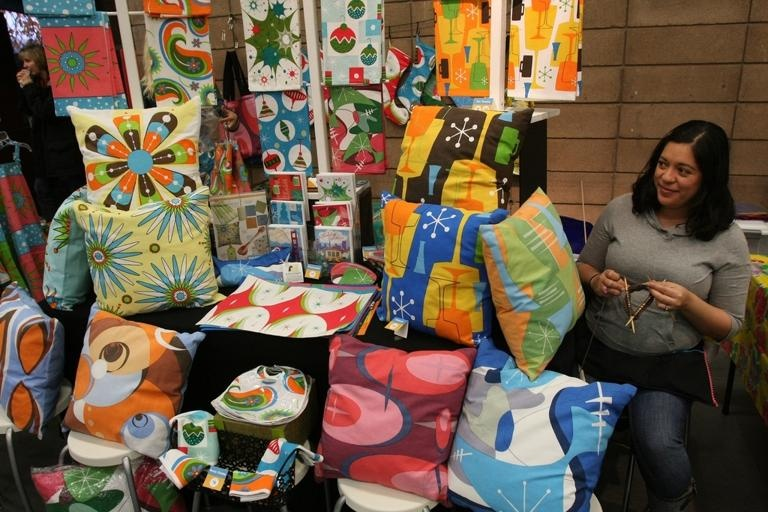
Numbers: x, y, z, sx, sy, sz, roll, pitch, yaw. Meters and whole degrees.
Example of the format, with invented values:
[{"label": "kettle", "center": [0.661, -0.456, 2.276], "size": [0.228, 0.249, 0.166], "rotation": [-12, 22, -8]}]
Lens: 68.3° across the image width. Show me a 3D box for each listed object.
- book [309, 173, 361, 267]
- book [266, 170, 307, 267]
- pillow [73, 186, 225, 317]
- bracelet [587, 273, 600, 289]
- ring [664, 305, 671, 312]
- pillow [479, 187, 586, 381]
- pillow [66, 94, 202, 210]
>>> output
[{"label": "book", "center": [-0.308, -0.239, 3.479], "size": [0.294, 0.527, 0.243], "rotation": [5, 20, 15]}, {"label": "book", "center": [-0.603, -0.246, 3.548], "size": [0.263, 0.545, 0.231], "rotation": [-1, 19, -1]}, {"label": "pillow", "center": [-1.339, -0.019, 3.150], "size": [0.612, 0.566, 0.313], "rotation": [-11, 23, -20]}, {"label": "bracelet", "center": [1.049, 0.118, 2.832], "size": [0.048, 0.063, 0.063], "rotation": [40, 9, -16]}, {"label": "ring", "center": [1.298, 0.238, 2.583], "size": [0.027, 0.011, 0.035], "rotation": [13, 3, 12]}, {"label": "pillow", "center": [0.774, 0.108, 2.835], "size": [0.394, 0.684, 0.858], "rotation": [10, 25, 28]}, {"label": "pillow", "center": [-1.402, -0.589, 3.232], "size": [0.646, 0.628, 0.204], "rotation": [-7, 3, -6]}]
